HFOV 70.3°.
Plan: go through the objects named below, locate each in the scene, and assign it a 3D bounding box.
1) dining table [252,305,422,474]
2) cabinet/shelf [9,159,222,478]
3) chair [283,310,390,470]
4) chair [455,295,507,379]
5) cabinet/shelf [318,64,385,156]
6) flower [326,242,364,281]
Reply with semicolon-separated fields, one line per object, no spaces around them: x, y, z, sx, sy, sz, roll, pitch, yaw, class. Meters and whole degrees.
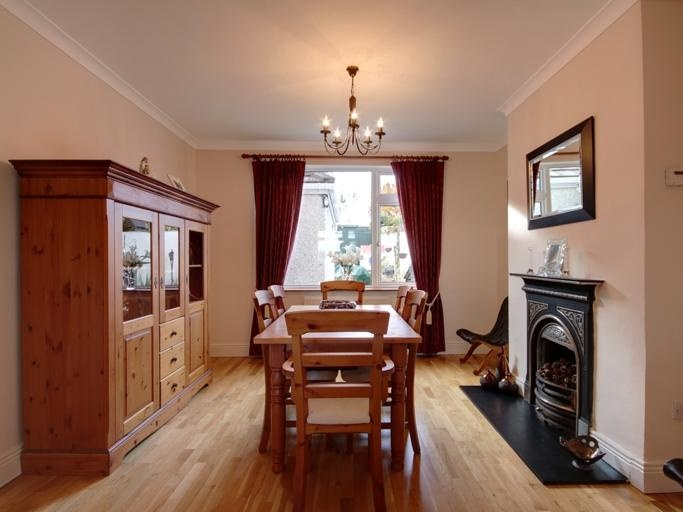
-0.051;0.949;4.431;1.247;1.181;1.865;1;14;-6;dining table
-1.936;0.481;4.747;0.684;2.356;2.420;-1;0;5;cabinet/shelf
-0.048;0.915;3.577;0.774;1.253;0.749;0;9;3;chair
1.741;0.912;5.734;0.773;0.861;0.724;0;4;-37;chair
0.113;-1.452;4.816;0.638;0.832;0.560;-25;40;-34;cabinet/shelf
0.063;0.065;6.259;0.426;0.504;0.457;-1;3;0;flower
